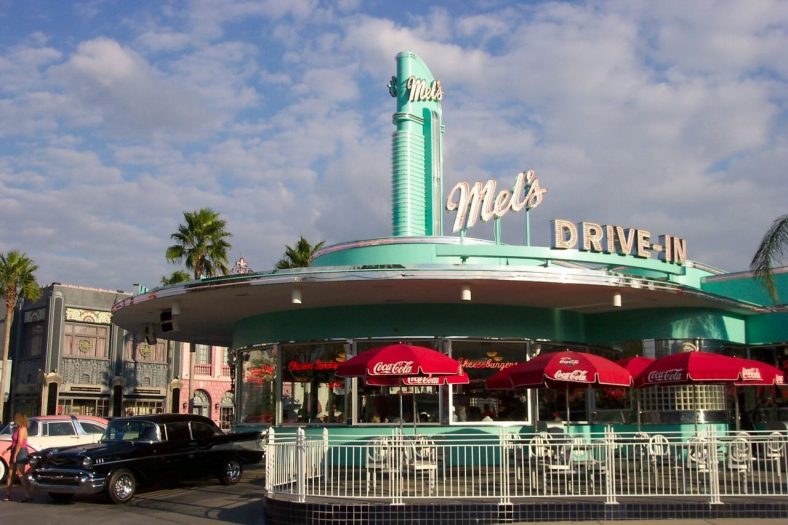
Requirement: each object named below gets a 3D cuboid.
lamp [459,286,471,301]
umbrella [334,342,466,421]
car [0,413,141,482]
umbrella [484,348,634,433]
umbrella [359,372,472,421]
[{"bbox_3d":[2.151,0.888,26.301,0.448,0.442,0.413,3,-20,-7],"label":"lamp"},{"bbox_3d":[0.237,3.551,25.493,2.939,2.261,4.488,-2,0,-3],"label":"umbrella"},{"bbox_3d":[-10.267,5.826,28.257,3.700,1.468,2.020,8,-17,-35],"label":"car"},{"bbox_3d":[4.717,3.866,26.898,2.967,1.598,2.749,-1,-15,4],"label":"umbrella"},{"bbox_3d":[0.534,3.990,26.584,2.314,1.339,1.176,0,-1,-2],"label":"umbrella"}]
